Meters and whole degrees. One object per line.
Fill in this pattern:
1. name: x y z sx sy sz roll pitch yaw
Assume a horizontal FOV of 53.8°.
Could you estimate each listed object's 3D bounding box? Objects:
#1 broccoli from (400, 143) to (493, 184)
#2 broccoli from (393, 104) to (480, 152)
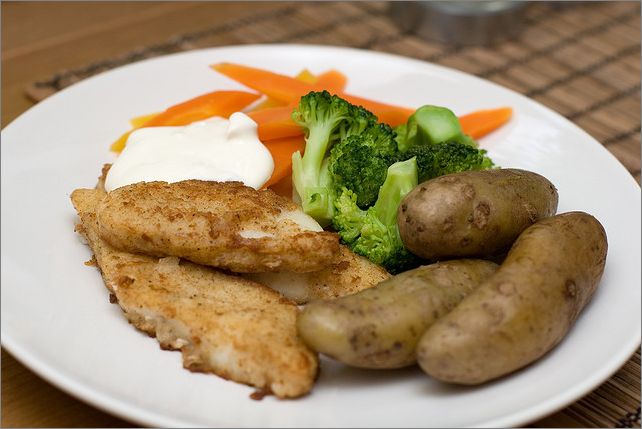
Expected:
1. broccoli: 0.728 -0.319 3.664 0.352 0.285 0.131 -14 90 14
2. broccoli: 0.679 -0.534 3.901 0.382 0.142 0.311 -3 23 -4
